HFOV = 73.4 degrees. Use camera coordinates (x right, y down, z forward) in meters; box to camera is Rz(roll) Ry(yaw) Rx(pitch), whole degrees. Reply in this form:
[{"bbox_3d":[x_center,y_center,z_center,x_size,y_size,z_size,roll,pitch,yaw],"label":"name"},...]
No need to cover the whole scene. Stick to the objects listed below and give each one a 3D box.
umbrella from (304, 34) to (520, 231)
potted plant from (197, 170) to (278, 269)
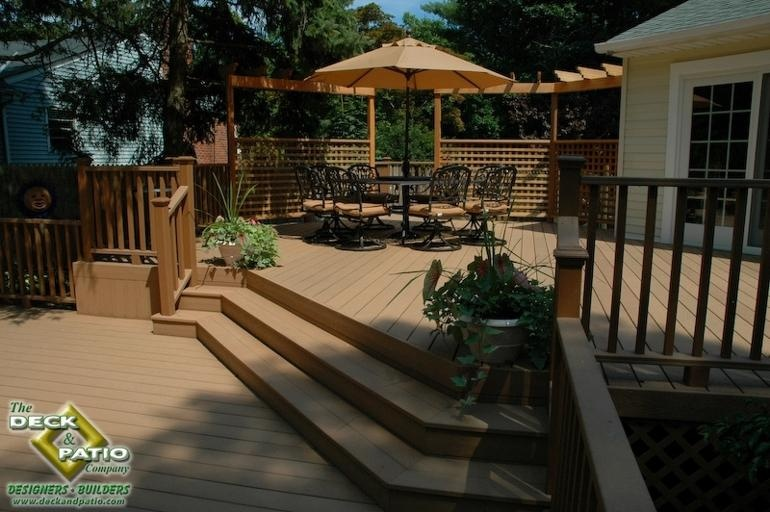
[{"bbox_3d":[0.368,-2.284,8.447,2.508,2.200,2.418,-3,30,-10],"label":"umbrella"},{"bbox_3d":[-1.906,-0.457,6.371,0.813,0.900,0.908,0,2,4],"label":"potted plant"}]
